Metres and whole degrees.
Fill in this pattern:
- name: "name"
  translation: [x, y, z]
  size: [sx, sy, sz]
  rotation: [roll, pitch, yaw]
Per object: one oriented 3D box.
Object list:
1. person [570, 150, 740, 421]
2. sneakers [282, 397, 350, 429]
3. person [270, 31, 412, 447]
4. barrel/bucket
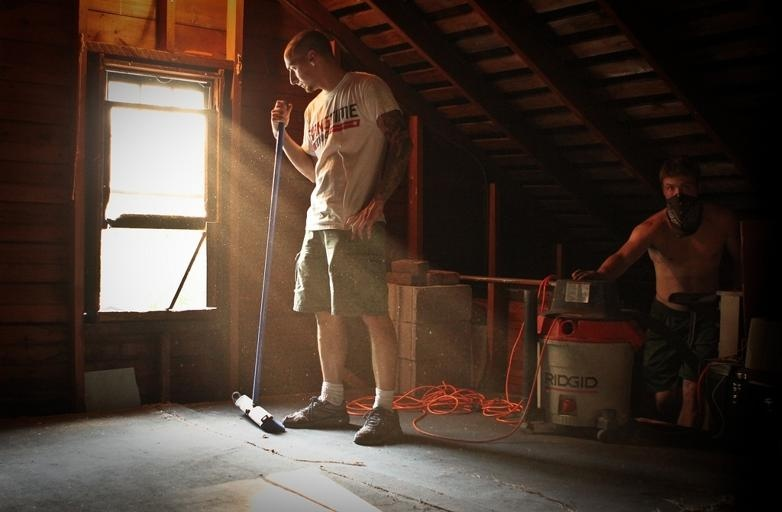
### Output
- name: "person"
  translation: [1.738, 0.389, 4.423]
  size: [1.199, 1.899, 0.852]
  rotation: [-3, -2, -5]
- name: "sneakers"
  translation: [-0.449, 0.938, 4.117]
  size: [0.380, 0.164, 0.163]
  rotation: [2, -7, -10]
- name: "person"
  translation: [-0.328, -0.149, 4.069]
  size: [0.691, 2.422, 0.868]
  rotation: [5, -8, -44]
- name: "barrel/bucket"
  translation: [1.148, 0.683, 4.014]
  size: [0.560, 0.656, 0.231]
  rotation: [3, 6, 19]
